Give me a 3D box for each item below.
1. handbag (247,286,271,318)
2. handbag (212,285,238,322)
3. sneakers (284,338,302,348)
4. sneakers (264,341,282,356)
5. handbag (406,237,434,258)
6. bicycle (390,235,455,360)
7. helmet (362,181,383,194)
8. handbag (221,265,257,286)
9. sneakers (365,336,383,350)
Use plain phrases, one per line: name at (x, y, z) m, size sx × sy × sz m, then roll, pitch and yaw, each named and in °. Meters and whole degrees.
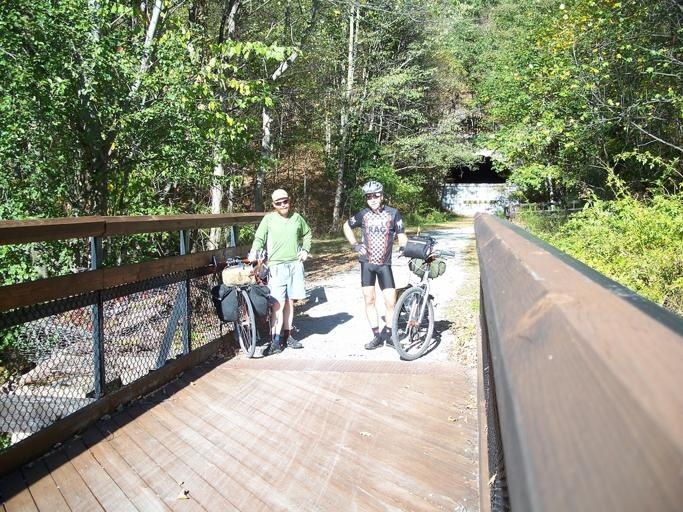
handbag at (-1.184, 0.641, 6.618) m, size 0.329 × 0.473 × 0.158 m, roll -5°, pitch -9°, yaw -31°
handbag at (-1.575, 0.642, 6.373) m, size 0.344 × 0.475 × 0.231 m, roll -17°, pitch -4°, yaw 11°
sneakers at (-0.711, 1.291, 6.921) m, size 0.313 × 0.166 × 0.118 m, roll 6°, pitch 11°, yaw 40°
sneakers at (-0.982, 1.336, 6.667) m, size 0.119 × 0.131 × 0.280 m, roll 1°, pitch -5°, yaw 14°
handbag at (1.057, -0.127, 6.483) m, size 0.312 × 0.273 × 0.236 m, roll 13°, pitch 10°, yaw 30°
bicycle at (1.041, 0.541, 6.358) m, size 0.623 × 1.570 × 1.337 m, roll 3°, pitch 7°, yaw 30°
helmet at (0.423, -0.953, 6.605) m, size 0.219 × 0.195 × 0.450 m, roll 1°, pitch 7°, yaw 15°
handbag at (-1.396, 0.280, 6.355) m, size 0.347 × 0.293 × 0.252 m, roll -1°, pitch 5°, yaw -21°
sneakers at (0.457, 1.258, 6.758) m, size 0.118 × 0.160 × 0.331 m, roll -3°, pitch 0°, yaw 38°
